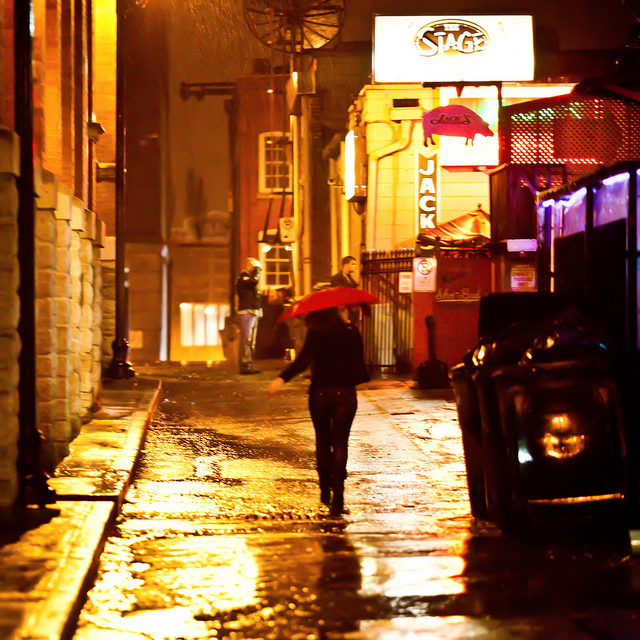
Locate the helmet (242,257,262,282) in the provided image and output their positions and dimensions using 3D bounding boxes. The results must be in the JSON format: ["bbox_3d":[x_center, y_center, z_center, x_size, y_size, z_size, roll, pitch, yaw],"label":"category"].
[{"bbox_3d":[-1.249,-0.968,22.131,0.416,0.457,0.334,-4,-2,25],"label":"helmet"}]

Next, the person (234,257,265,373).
[{"bbox_3d":[-1.268,-0.105,22.018,0.420,2.091,0.649,-1,2,-3],"label":"person"}]

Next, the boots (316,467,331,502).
[{"bbox_3d":[0.046,1.373,10.198,0.102,0.275,0.262,-1,1,-2],"label":"boots"}]

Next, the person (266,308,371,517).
[{"bbox_3d":[0.080,0.694,10.247,0.667,1.628,0.608,-1,2,1],"label":"person"}]
